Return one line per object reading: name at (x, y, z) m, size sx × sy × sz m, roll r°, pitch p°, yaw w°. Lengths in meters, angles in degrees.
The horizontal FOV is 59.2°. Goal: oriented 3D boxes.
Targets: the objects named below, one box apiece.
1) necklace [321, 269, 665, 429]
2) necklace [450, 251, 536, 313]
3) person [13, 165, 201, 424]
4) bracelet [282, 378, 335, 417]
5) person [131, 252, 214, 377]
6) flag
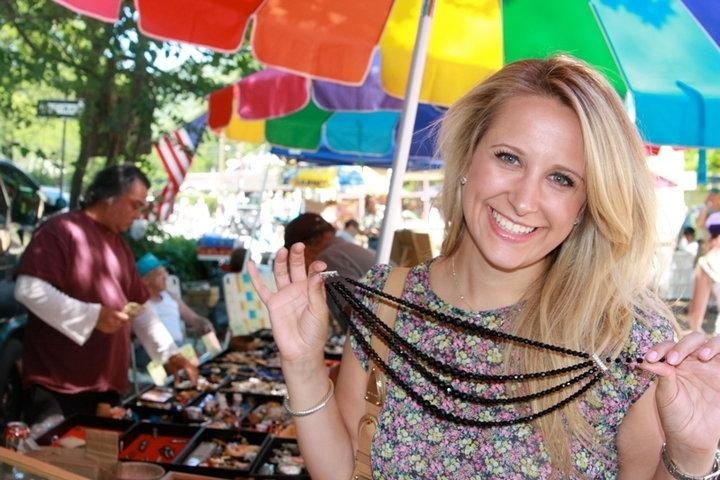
necklace at (0.702, 0.564, 3.128) m, size 1.501 × 0.121 × 0.466 m, roll 12°, pitch 31°, yaw 32°
necklace at (0.651, 0.208, 3.204) m, size 0.300 × 0.374 × 0.297 m, roll 0°, pitch 12°, yaw 6°
person at (-1.764, 0.715, 4.463) m, size 1.269 × 2.274 × 0.866 m, roll 4°, pitch 10°, yaw -30°
bracelet at (-0.257, 0.786, 3.163) m, size 0.195 × 0.045 × 0.198 m, roll -42°, pitch 14°, yaw -31°
person at (-1.338, 0.606, 5.115) m, size 0.465 × 0.380 × 0.948 m, roll -23°, pitch 36°, yaw 5°
flag at (-1.501, -0.576, 5.194) m, size 0.063 × 0.457 × 1.157 m, roll -13°, pitch 47°, yaw 30°
